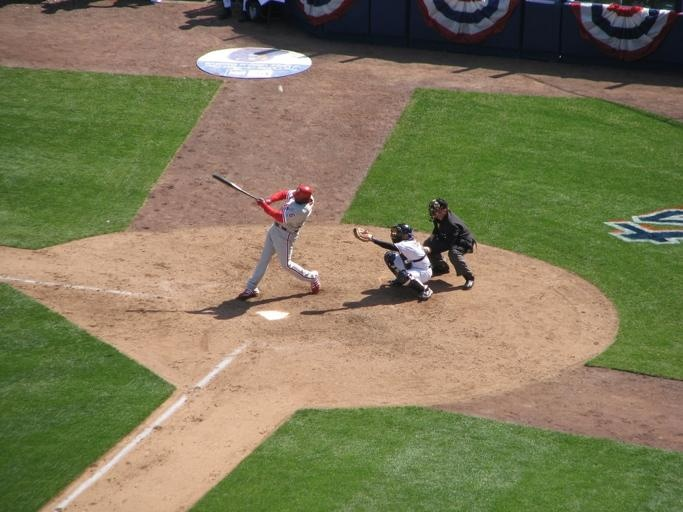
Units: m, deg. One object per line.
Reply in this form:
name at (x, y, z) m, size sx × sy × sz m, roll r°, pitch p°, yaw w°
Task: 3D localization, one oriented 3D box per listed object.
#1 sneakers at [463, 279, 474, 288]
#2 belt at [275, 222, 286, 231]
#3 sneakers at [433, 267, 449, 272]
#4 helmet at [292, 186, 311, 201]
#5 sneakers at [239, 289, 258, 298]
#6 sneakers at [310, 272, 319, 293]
sneakers at (2.928, 0.627, 18.835) m, size 0.154 × 0.107 × 0.297 m, roll 5°, pitch 26°, yaw 29°
belt at (-1.284, -0.623, 17.776) m, size 0.280 × 0.208 × 0.036 m, roll 21°, pitch 56°, yaw 25°
sneakers at (2.352, 0.339, 19.468) m, size 0.405 × 0.191 × 0.083 m, roll -5°, pitch 61°, yaw -5°
helmet at (-0.816, -1.331, 17.649) m, size 0.369 × 0.354 × 0.323 m, roll -6°, pitch 44°, yaw -2°
sneakers at (-1.996, 0.832, 18.089) m, size 0.477 × 0.134 × 0.152 m, roll -10°, pitch 39°, yaw -21°
sneakers at (-0.519, 0.601, 18.305) m, size 0.234 × 0.418 × 0.226 m, roll 0°, pitch 24°, yaw 15°
